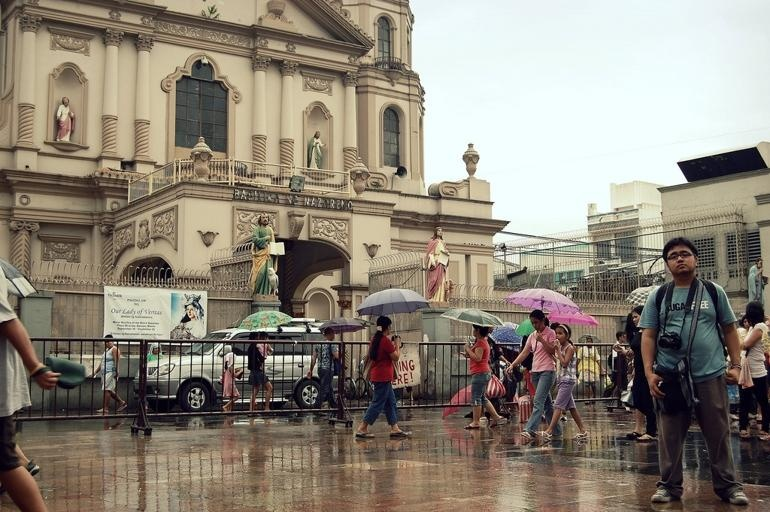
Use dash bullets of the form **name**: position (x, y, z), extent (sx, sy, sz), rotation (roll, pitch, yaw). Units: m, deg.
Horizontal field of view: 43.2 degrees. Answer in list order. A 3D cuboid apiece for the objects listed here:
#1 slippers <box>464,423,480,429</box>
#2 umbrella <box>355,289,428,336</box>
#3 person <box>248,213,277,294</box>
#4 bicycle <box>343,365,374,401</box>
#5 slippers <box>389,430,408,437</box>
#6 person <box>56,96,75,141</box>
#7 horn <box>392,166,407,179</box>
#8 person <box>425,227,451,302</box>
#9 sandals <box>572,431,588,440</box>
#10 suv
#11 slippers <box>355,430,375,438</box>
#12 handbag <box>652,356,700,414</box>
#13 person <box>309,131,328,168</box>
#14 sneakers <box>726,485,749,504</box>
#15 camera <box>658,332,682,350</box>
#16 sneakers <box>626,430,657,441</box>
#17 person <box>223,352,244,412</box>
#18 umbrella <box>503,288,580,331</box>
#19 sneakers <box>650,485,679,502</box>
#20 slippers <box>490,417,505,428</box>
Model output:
- **slippers**: position (1.881, 3.695, 21.023), extent (0.252, 0.096, 0.145), rotation (5, -12, -5)
- **umbrella**: position (0.129, 1.226, 22.905), extent (1.001, 0.740, 0.974), rotation (8, -21, -41)
- **person**: position (-3.812, 0.173, 30.085), extent (0.769, 2.061, 1.042), rotation (0, -7, -9)
- **bicycle**: position (-0.791, 3.741, 28.087), extent (0.674, 0.884, 1.413), rotation (2, -14, -10)
- **slippers**: position (0.257, 3.603, 19.757), extent (0.376, 0.147, 0.144), rotation (-2, -4, 7)
- **person**: position (-12.635, -5.323, 38.284), extent (0.711, 1.693, 0.524), rotation (1, -8, -20)
- **horn**: position (0.675, -4.098, 47.223), extent (0.237, 0.621, 0.864), rotation (-8, -10, 43)
- **person**: position (1.480, 0.427, 28.810), extent (0.664, 1.944, 0.902), rotation (-1, -7, 1)
- **sandals**: position (3.916, 3.598, 19.582), extent (0.265, 0.137, 0.645), rotation (-3, -8, 10)
- **suv**: position (-3.639, 2.621, 24.717), extent (4.412, 2.412, 2.433), rotation (6, -14, -26)
- **slippers**: position (-0.436, 3.574, 19.479), extent (0.272, 0.103, 0.158), rotation (-1, -4, 13)
- **handbag**: position (4.313, 1.903, 14.405), extent (0.610, 0.736, 0.413), rotation (-17, -4, 6)
- **person**: position (-3.115, -4.765, 43.240), extent (0.696, 1.989, 1.560), rotation (-1, -7, 3)
- **sneakers**: position (5.174, 3.521, 14.310), extent (0.349, 0.263, 0.227), rotation (-2, -7, 6)
- **camera**: position (4.205, 1.257, 14.427), extent (0.285, 0.236, 0.231), rotation (7, 0, 28)
- **sneakers**: position (5.036, 3.548, 19.174), extent (0.205, 0.158, 0.586), rotation (-7, -15, 39)
- **person**: position (-3.897, 3.050, 24.537), extent (0.449, 1.611, 2.093), rotation (0, -8, -9)
- **umbrella**: position (4.058, 1.099, 24.931), extent (1.287, 0.838, 1.349), rotation (9, -22, 19)
- **sneakers**: position (4.098, 3.523, 14.343), extent (0.494, 0.224, 0.173), rotation (5, -13, -12)
- **slippers**: position (2.496, 3.755, 21.995), extent (0.407, 0.151, 0.165), rotation (-22, 29, -28)
